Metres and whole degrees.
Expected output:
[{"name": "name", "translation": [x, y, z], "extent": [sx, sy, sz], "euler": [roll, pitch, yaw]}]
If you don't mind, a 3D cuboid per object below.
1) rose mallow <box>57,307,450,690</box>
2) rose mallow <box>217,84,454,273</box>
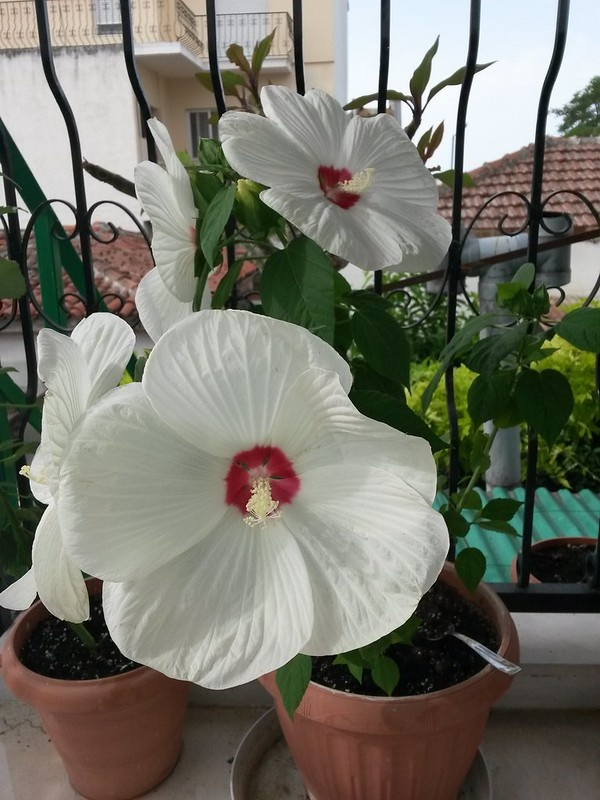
[{"name": "rose mallow", "translation": [-0.046, 0.103, 0.671], "extent": [0.365, 0.282, 0.151], "euler": [18, 20, 24]}, {"name": "rose mallow", "translation": [0.052, -0.236, 0.757], "extent": [0.188, 0.199, 0.290], "euler": [12, 26, 25]}]
